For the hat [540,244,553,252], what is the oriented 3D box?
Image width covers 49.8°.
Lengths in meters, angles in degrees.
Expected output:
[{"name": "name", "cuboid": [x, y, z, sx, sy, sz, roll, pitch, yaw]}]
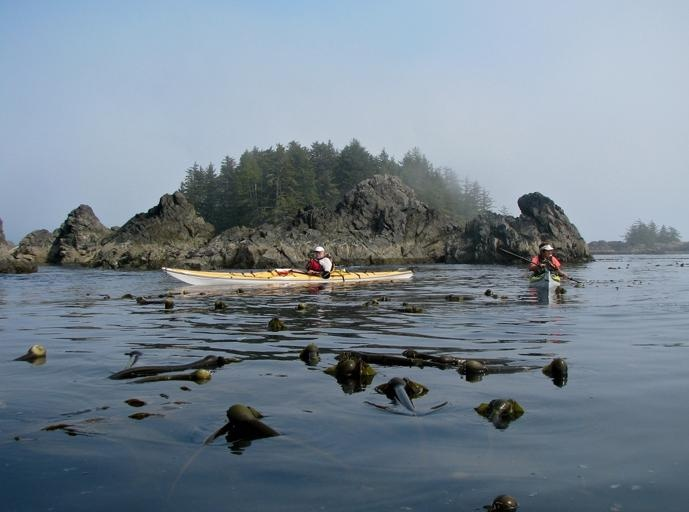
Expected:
[{"name": "hat", "cuboid": [7.588, -0.347, 28.022, 0.432, 0.186, 0.578, -5, -4, -8]}]

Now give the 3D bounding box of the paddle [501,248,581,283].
[{"name": "paddle", "cuboid": [10.495, 0.460, 40.796, 5.129, 0.114, 0.232, 22, 45, 25]}]
